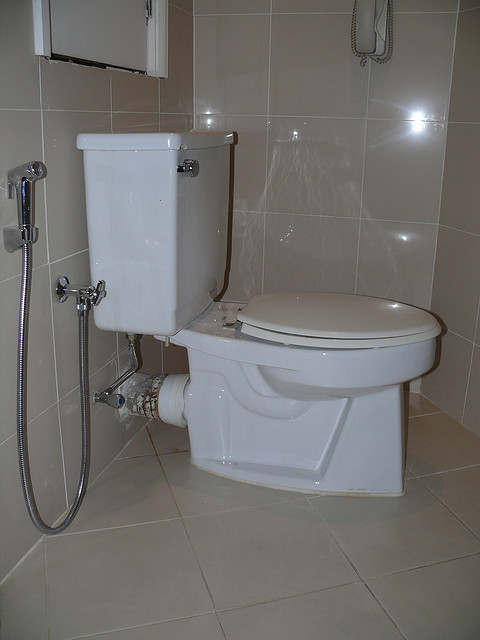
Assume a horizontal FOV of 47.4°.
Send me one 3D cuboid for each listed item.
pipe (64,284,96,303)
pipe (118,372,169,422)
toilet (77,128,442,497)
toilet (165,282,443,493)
[{"bbox_3d":[-0.286,-0.053,0.982,0.077,0.031,0.022,18,27,42],"label":"pipe"},{"bbox_3d":[-0.238,0.185,1.342,0.127,0.102,0.082,4,7,16],"label":"pipe"},{"bbox_3d":[0.075,-0.029,1.258,0.661,0.805,0.398,2,18,11],"label":"toilet"},{"bbox_3d":[0.148,0.122,1.325,0.554,0.405,0.399,3,22,11],"label":"toilet"}]
